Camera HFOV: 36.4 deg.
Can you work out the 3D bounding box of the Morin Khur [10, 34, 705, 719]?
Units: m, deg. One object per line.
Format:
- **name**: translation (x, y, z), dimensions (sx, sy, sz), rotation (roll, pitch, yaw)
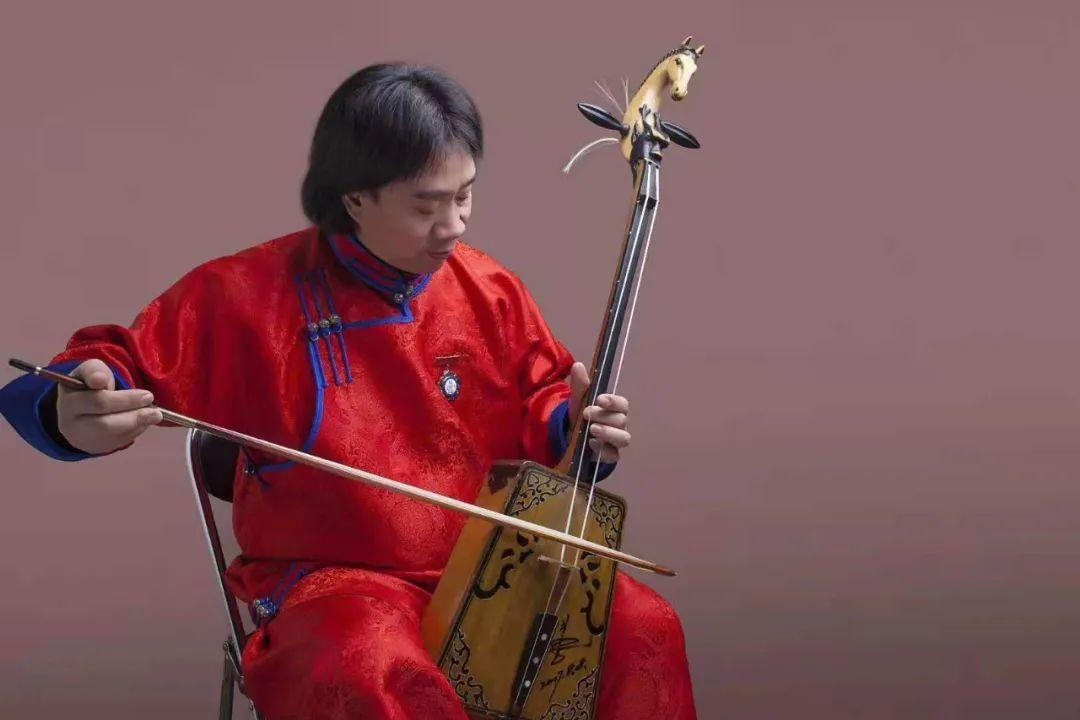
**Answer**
- **Morin Khur**: translation (-0.304, 0.167, 3.199), dimensions (1.374, 1.397, 0.884), rotation (1, 6, -31)
